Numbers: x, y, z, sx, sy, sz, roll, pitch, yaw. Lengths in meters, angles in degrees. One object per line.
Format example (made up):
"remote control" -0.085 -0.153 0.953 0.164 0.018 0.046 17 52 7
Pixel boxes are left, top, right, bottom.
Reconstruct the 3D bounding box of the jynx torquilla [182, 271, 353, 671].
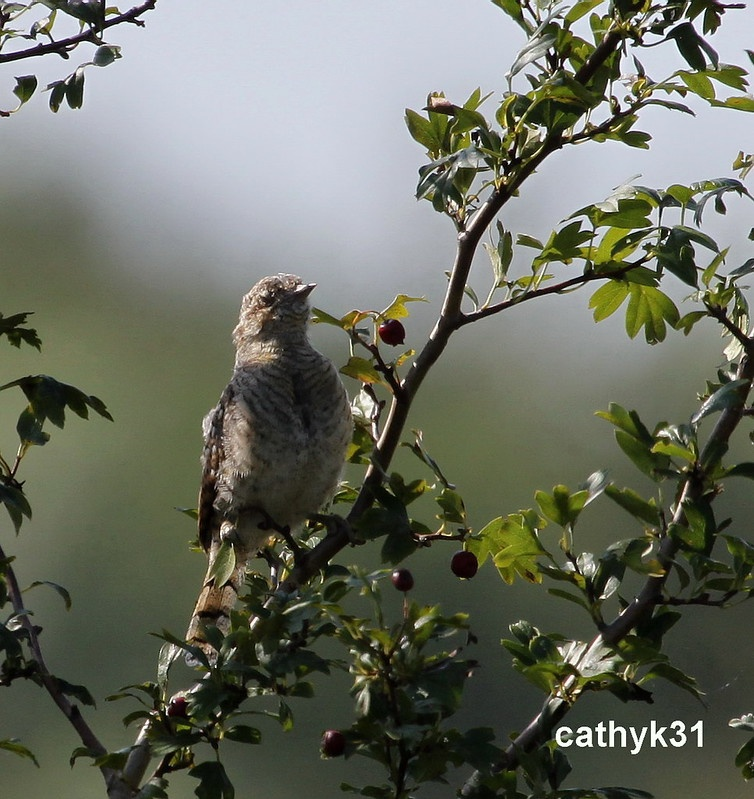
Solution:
"jynx torquilla" -0.169 0.092 2.158 0.215 0.607 0.351 14 -44 -7

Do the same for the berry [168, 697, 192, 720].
"berry" -0.200 0.309 1.416 0.026 0.033 0.025 -2 -87 1
